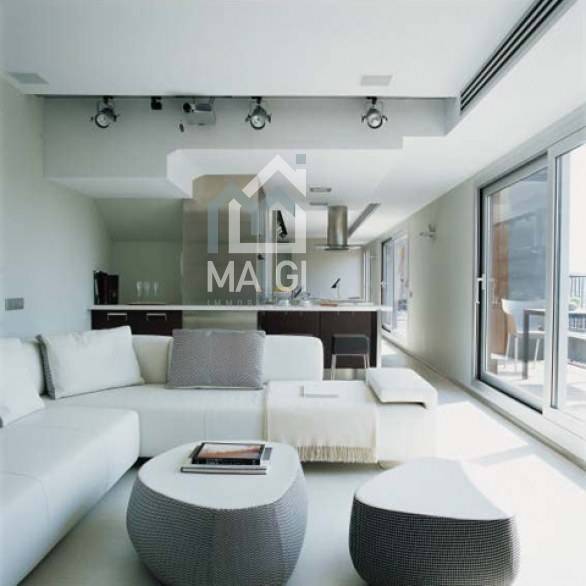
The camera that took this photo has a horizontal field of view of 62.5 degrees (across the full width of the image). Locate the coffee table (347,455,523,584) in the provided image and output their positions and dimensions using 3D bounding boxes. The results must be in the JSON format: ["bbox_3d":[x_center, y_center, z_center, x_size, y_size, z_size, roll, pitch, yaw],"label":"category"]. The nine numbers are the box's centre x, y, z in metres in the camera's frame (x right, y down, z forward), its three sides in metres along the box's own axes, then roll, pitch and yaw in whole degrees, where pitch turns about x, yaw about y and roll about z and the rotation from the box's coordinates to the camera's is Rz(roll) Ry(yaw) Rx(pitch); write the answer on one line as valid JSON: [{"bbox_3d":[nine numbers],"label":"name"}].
[{"bbox_3d":[0.550,0.940,1.950,0.630,0.352,0.312,-2,1,-5],"label":"coffee table"}]

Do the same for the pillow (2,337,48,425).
[{"bbox_3d":[-1.469,0.441,2.577,0.081,0.366,0.345,-6,3,1],"label":"pillow"}]

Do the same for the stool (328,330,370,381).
[{"bbox_3d":[0.594,0.658,4.907,0.428,0.563,0.392,0,-6,1],"label":"stool"}]

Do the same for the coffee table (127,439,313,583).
[{"bbox_3d":[-0.309,0.942,2.034,0.733,0.484,0.414,-2,1,5],"label":"coffee table"}]

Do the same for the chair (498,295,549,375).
[{"bbox_3d":[1.856,0.328,3.803,0.316,0.566,0.361,1,3,0],"label":"chair"}]

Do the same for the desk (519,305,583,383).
[{"bbox_3d":[1.858,0.339,3.602,0.369,0.656,0.547,0,-1,10],"label":"desk"}]
